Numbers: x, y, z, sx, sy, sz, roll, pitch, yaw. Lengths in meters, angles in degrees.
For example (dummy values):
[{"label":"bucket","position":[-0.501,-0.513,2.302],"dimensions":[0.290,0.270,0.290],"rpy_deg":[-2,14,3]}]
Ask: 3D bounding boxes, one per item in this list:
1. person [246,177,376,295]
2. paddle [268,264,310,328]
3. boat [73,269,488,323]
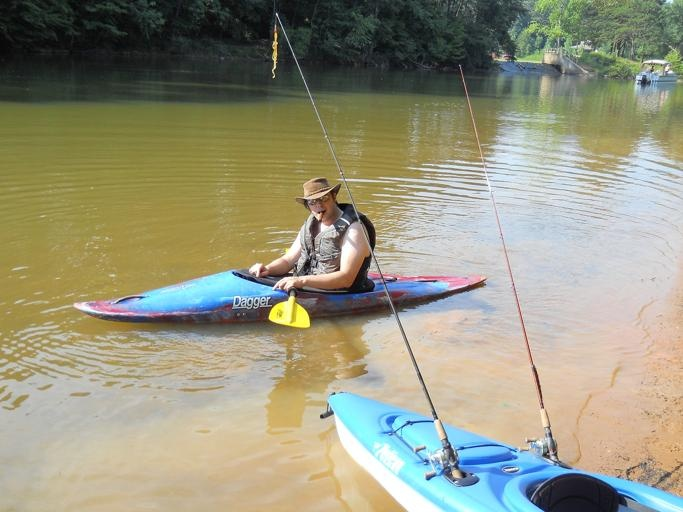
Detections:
[{"label":"person","position":[-0.162,-0.254,6.799],"dimensions":[1.408,1.169,1.047],"rpy_deg":[9,19,18]},{"label":"paddle","position":[-0.431,0.461,6.263],"dimensions":[0.339,0.370,0.329],"rpy_deg":[16,23,34]},{"label":"boat","position":[-0.471,0.417,7.031],"dimensions":[4.389,0.418,0.747],"rpy_deg":[-4,19,-14]}]
